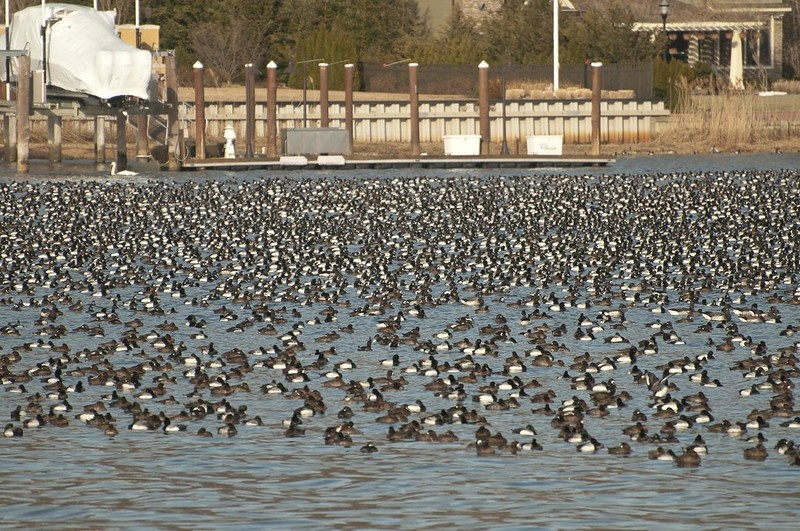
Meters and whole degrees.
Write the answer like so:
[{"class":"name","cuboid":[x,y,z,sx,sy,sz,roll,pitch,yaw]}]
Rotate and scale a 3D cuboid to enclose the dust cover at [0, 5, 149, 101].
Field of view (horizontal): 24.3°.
[{"class":"dust cover","cuboid":[-13.918,-9.503,83.097,5.780,1.835,5.474,1,8,-27]}]
